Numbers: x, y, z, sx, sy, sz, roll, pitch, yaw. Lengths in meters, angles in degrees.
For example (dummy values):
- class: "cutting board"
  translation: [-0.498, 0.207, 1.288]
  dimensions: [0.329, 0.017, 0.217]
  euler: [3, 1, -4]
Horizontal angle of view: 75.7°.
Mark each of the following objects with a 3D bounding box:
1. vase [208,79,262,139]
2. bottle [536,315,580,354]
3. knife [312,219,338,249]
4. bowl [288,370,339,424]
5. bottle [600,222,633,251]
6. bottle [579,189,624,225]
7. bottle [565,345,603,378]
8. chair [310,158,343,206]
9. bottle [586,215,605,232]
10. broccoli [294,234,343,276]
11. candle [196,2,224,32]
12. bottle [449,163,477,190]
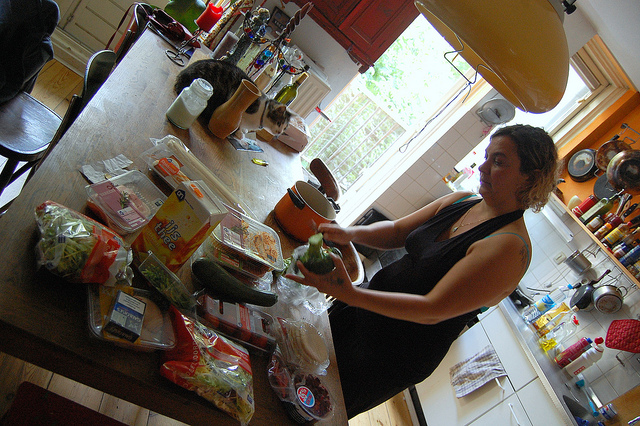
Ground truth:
- class: "vase"
  translation: [-0.434, -0.509, 2.045]
  dimensions: [0.127, 0.281, 0.153]
  euler: [34, 12, -21]
- class: "bottle"
  translation: [1.854, 0.947, 3.195]
  dimensions: [0.182, 0.357, 0.095]
  euler: [56, -12, -23]
- class: "knife"
  translation: [0.023, 0.093, 1.821]
  dimensions: [0.168, 0.019, 0.024]
  euler: [50, -8, -24]
- class: "bowl"
  translation: [-0.036, 0.677, 1.518]
  dimensions: [0.190, 0.088, 0.160]
  euler: [36, 12, -30]
- class: "bottle"
  translation: [2.377, 0.189, 3.274]
  dimensions: [0.091, 0.279, 0.099]
  euler: [39, 3, -3]
- class: "bottle"
  translation: [2.384, -0.038, 3.453]
  dimensions: [0.117, 0.426, 0.195]
  euler: [39, 11, 6]
- class: "bottle"
  translation: [1.967, 1.099, 3.043]
  dimensions: [0.159, 0.357, 0.053]
  euler: [35, 11, -18]
- class: "chair"
  translation: [0.044, -0.189, 2.454]
  dimensions: [0.266, 0.133, 0.190]
  euler: [42, 11, 2]
- class: "bottle"
  translation: [2.313, 0.092, 3.439]
  dimensions: [0.063, 0.108, 0.063]
  euler: [38, 16, -13]
- class: "broccoli"
  translation: [-0.008, 0.176, 1.580]
  dimensions: [0.047, 0.109, 0.188]
  euler: [51, 34, -85]
- class: "candle"
  translation: [-0.760, -1.351, 2.882]
  dimensions: [0.116, 0.171, 0.169]
  euler: [45, 12, 29]
- class: "bottle"
  translation: [1.494, -0.393, 4.311]
  dimensions: [0.079, 0.339, 0.089]
  euler: [43, 0, -36]
